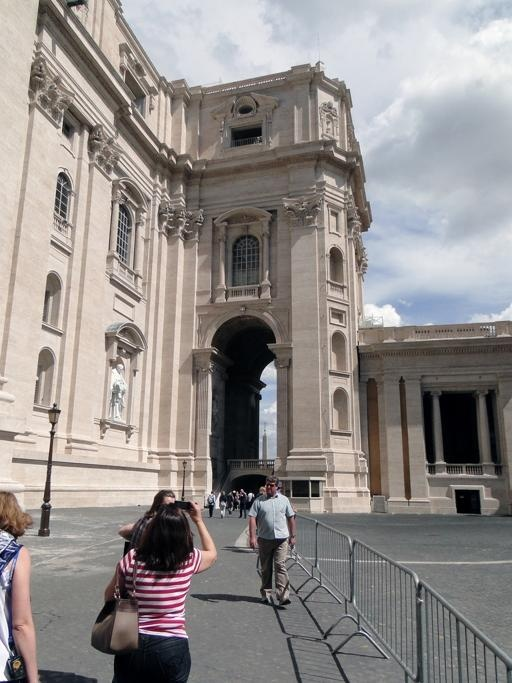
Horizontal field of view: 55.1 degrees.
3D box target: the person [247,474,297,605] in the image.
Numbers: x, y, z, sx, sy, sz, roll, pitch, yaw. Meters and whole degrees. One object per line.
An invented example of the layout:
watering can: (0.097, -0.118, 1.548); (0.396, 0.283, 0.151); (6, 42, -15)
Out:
person: (0.232, 2.955, 7.319); (0.656, 1.798, 0.983); (-1, -13, 3)
